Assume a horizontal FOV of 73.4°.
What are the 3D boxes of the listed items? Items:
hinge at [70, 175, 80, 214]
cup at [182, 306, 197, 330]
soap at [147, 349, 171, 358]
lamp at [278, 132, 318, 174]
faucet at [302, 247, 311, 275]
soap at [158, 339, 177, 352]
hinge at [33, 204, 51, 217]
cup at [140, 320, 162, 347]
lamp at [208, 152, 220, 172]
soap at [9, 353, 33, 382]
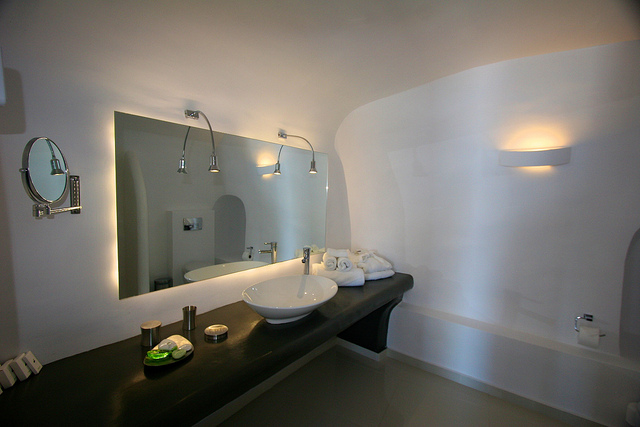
[{"bbox_3d":[-1.376,-0.106,2.416,0.064,0.268,0.061,-6,-32,-23],"label":"hinge"},{"bbox_3d":[-0.805,0.649,2.682,0.057,0.144,0.097,2,5,42],"label":"cup"},{"bbox_3d":[-0.897,0.777,2.375,0.069,0.021,0.051,2,-3,10],"label":"soap"},{"bbox_3d":[-0.149,-0.477,3.458,0.149,0.309,0.464,1,4,27],"label":"lamp"},{"bbox_3d":[-0.110,0.371,3.347,0.045,0.206,0.071,-1,4,1],"label":"faucet"},{"bbox_3d":[-0.858,0.744,2.422,0.077,0.026,0.056,9,5,16],"label":"soap"},{"bbox_3d":[-1.430,-0.017,2.210,0.050,0.063,0.093,4,2,38],"label":"hinge"},{"bbox_3d":[-1.001,0.721,2.542,0.104,0.107,0.101,1,0,0],"label":"cup"},{"bbox_3d":[-0.707,-0.345,2.887,0.083,0.130,0.049,-4,5,-37],"label":"lamp"},{"bbox_3d":[-1.584,0.824,2.280,0.061,0.114,0.116,-38,10,-29],"label":"soap"}]
